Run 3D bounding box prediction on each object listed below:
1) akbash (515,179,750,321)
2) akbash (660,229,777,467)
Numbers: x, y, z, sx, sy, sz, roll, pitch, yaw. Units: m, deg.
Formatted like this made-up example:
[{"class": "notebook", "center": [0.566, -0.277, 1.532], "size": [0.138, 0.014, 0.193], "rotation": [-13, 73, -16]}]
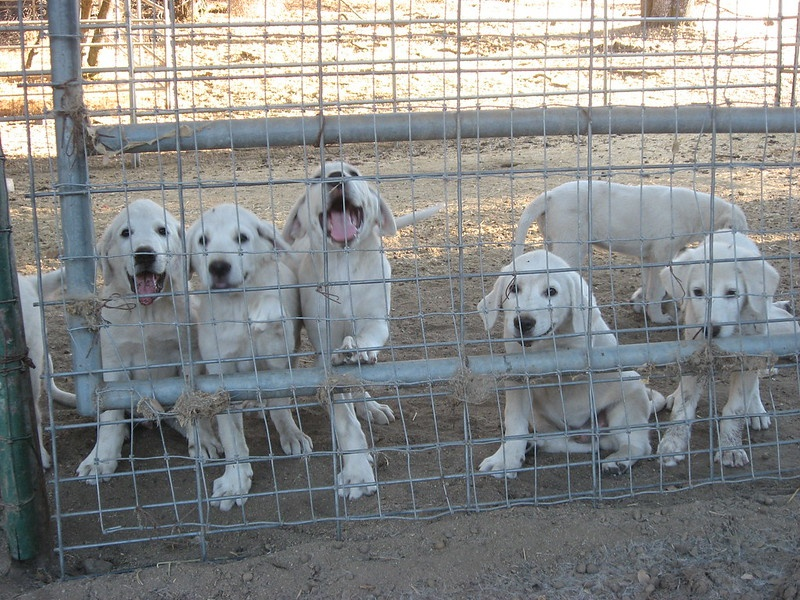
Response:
[{"class": "akbash", "center": [1.974, -0.384, 7.653], "size": [2.020, 1.194, 0.566], "rotation": [6, 2, -2]}, {"class": "akbash", "center": [2.241, 0.212, 6.235], "size": [0.674, 1.423, 2.128], "rotation": [5, 16, 25]}]
